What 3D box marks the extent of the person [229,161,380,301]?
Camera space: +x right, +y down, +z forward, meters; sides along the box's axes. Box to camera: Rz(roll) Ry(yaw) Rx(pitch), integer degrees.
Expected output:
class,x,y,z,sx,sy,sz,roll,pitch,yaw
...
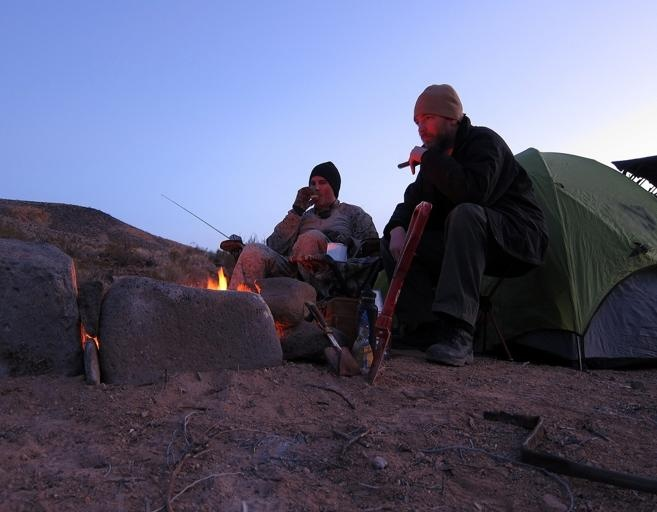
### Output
class,x,y,z,sx,sy,sz,roll,pitch,yaw
person,-0.158,-0.014,5.218,0.727,1.263,0.935,-9,-49,26

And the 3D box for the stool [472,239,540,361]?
class,x,y,z,sx,sy,sz,roll,pitch,yaw
stool,1.363,0.393,4.696,0.637,0.943,0.660,2,-7,30
